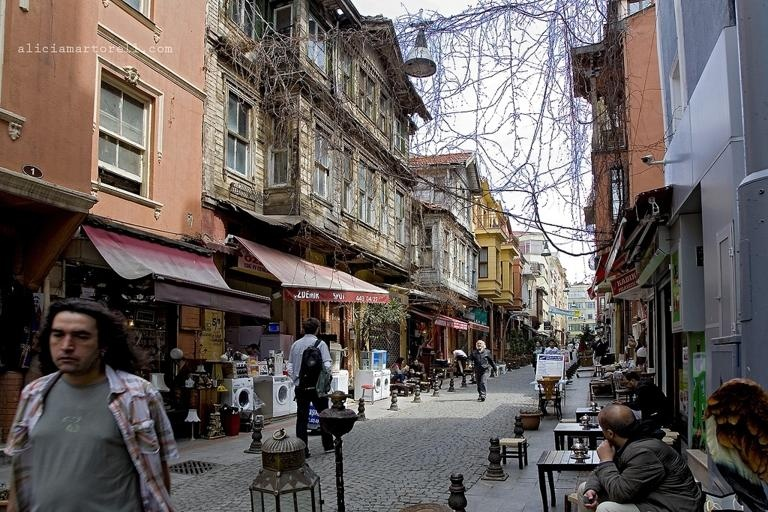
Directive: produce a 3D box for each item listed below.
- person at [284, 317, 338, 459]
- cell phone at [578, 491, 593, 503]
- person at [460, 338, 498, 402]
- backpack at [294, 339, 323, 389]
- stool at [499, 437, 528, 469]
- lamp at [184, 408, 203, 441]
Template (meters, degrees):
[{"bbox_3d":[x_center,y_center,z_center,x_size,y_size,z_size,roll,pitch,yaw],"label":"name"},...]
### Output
[{"bbox_3d":[-1.326,2.314,13.707,0.760,2.252,1.161,-1,-2,16],"label":"person"},{"bbox_3d":[2.262,2.687,8.638,0.130,0.101,0.134,-3,-16,21],"label":"cell phone"},{"bbox_3d":[2.862,3.360,22.844,1.062,1.826,0.674,-1,-2,-25],"label":"person"},{"bbox_3d":[-1.315,1.898,13.631,0.502,0.877,0.246,0,-13,-8],"label":"backpack"},{"bbox_3d":[2.085,3.262,12.967,0.548,0.631,0.581,-3,-3,21],"label":"stool"},{"bbox_3d":[-3.720,3.274,15.088,0.273,0.597,0.540,0,-14,-10],"label":"lamp"}]
